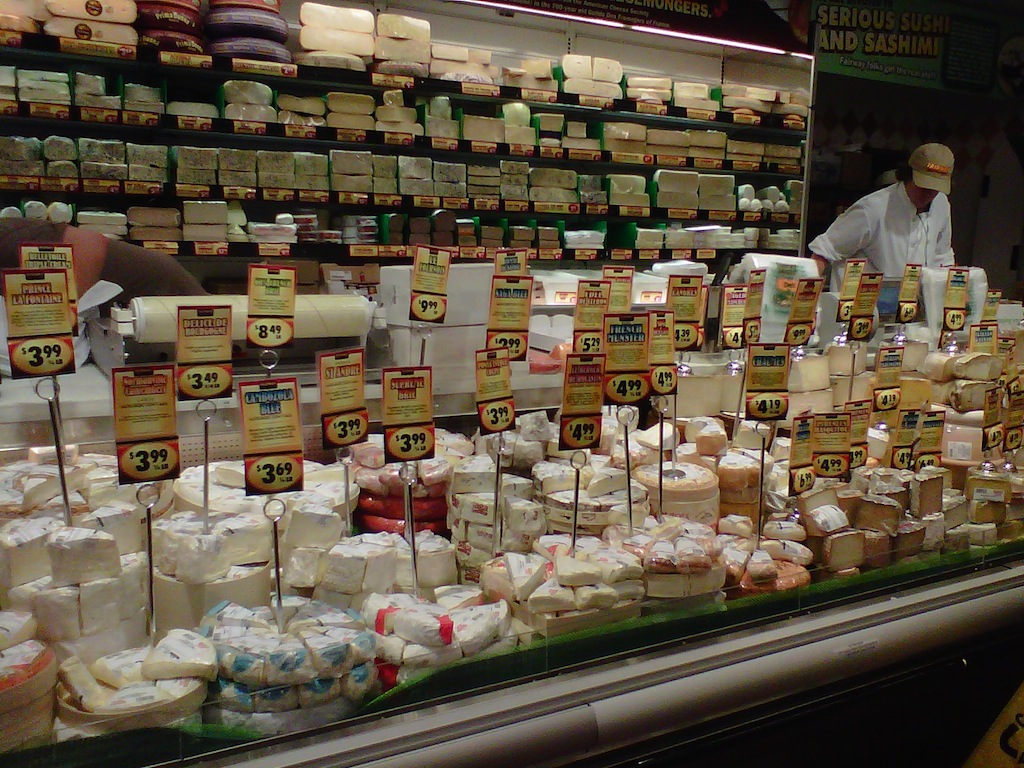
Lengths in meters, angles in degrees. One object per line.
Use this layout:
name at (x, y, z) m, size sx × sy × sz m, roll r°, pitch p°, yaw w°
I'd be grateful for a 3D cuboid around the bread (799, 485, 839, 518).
bread at (0.840, 0.315, 2.165) m, size 0.151 × 0.075 × 0.075 m, roll -6°, pitch 9°, yaw -18°

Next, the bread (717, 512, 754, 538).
bread at (0.620, 0.383, 2.161) m, size 0.073 × 0.027 × 0.066 m, roll 2°, pitch 3°, yaw 10°

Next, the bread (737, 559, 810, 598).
bread at (0.660, 0.481, 1.961) m, size 0.113 × 0.029 × 0.105 m, roll -4°, pitch 1°, yaw 28°

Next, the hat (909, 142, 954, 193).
hat at (2.021, -1.044, 3.805) m, size 0.176 × 0.231 × 0.194 m, roll -2°, pitch 9°, yaw -16°

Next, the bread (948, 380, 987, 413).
bread at (1.503, 0.039, 2.573) m, size 0.106 × 0.100 × 0.043 m, roll 0°, pitch 1°, yaw 7°

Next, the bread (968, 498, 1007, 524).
bread at (1.452, 0.390, 2.408) m, size 0.150 × 0.077 × 0.070 m, roll 0°, pitch 0°, yaw -3°

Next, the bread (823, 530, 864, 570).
bread at (0.871, 0.439, 2.086) m, size 0.142 × 0.093 × 0.070 m, roll -1°, pitch 1°, yaw -18°

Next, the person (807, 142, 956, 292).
person at (1.923, -0.869, 4.147) m, size 0.741 × 0.677 × 0.698 m, roll 4°, pitch 9°, yaw 24°

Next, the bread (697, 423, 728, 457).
bread at (0.592, 0.170, 2.389) m, size 0.107 × 0.061 × 0.089 m, roll 7°, pitch 27°, yaw 1°

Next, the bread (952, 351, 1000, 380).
bread at (1.552, -0.060, 2.637) m, size 0.134 × 0.089 × 0.062 m, roll 4°, pitch 9°, yaw 25°
